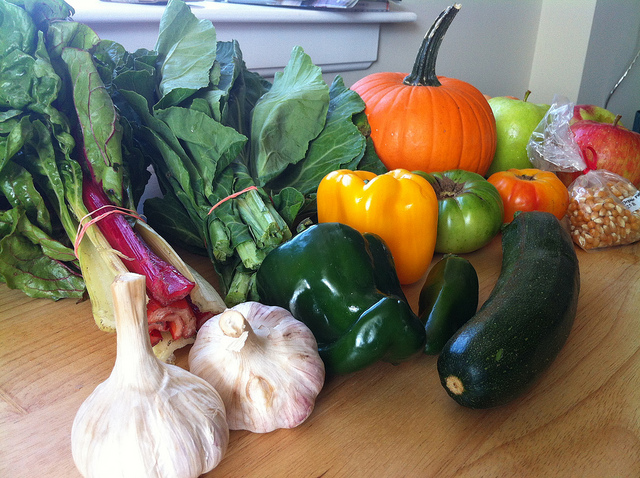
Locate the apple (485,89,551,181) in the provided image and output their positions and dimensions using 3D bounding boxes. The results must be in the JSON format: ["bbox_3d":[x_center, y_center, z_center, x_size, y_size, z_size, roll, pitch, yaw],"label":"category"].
[{"bbox_3d":[0.605,-0.315,1.630,0.169,0.228,0.154,12,30,16],"label":"apple"}]

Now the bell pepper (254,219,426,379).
[{"bbox_3d":[0.023,0.088,1.045,0.355,0.293,0.325,2,13,-19],"label":"bell pepper"}]

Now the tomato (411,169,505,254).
[{"bbox_3d":[0.351,-0.088,1.326,0.215,0.131,0.214,-24,30,-25],"label":"tomato"}]
